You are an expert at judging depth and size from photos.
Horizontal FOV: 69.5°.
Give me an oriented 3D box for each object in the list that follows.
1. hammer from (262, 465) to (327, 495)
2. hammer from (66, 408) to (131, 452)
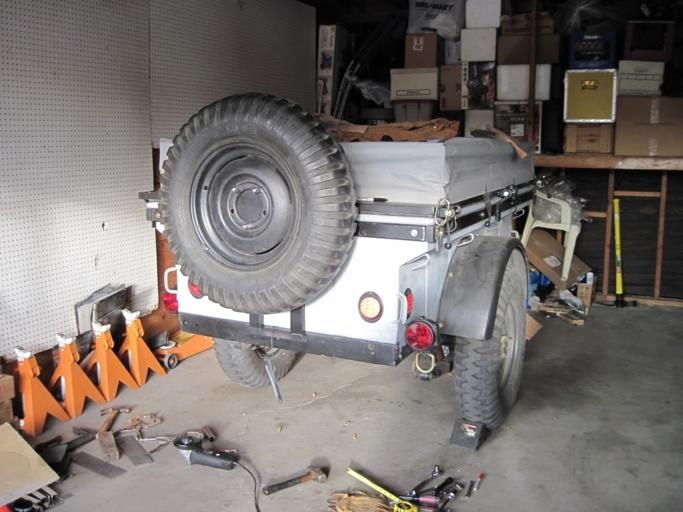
[{"bbox_3d":[-0.250,1.261,2.804,0.417,0.048,0.162,-7,15,-25],"label":"hammer"},{"bbox_3d":[-1.655,1.150,3.344,0.273,0.043,0.528,2,14,8],"label":"hammer"}]
